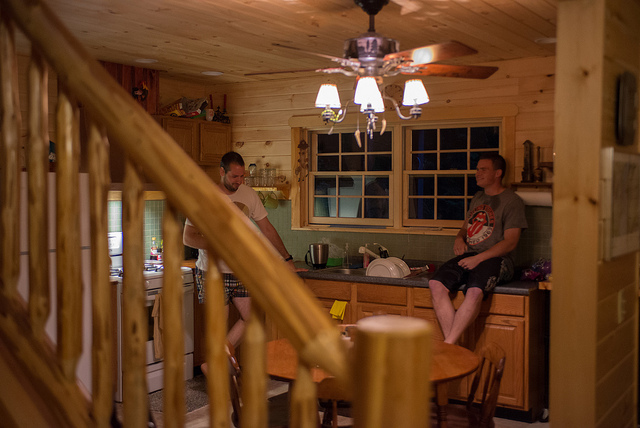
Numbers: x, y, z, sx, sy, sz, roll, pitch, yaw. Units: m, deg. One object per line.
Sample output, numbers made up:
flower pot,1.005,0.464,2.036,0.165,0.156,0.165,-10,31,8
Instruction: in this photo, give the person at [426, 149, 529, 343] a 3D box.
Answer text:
person,1.388,0.287,4.715,0.931,1.660,0.622,-6,5,-39

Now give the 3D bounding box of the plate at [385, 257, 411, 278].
plate,0.790,0.520,5.108,0.197,0.161,0.219,-5,4,-25

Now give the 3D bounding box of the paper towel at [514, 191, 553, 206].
paper towel,2.053,-0.139,4.982,0.298,0.148,0.184,-2,4,9

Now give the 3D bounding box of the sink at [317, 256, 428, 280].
sink,0.530,0.540,5.250,0.906,0.199,0.651,0,4,37

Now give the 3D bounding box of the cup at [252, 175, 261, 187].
cup,-0.768,-0.382,6.297,0.147,0.134,0.077,1,2,24
